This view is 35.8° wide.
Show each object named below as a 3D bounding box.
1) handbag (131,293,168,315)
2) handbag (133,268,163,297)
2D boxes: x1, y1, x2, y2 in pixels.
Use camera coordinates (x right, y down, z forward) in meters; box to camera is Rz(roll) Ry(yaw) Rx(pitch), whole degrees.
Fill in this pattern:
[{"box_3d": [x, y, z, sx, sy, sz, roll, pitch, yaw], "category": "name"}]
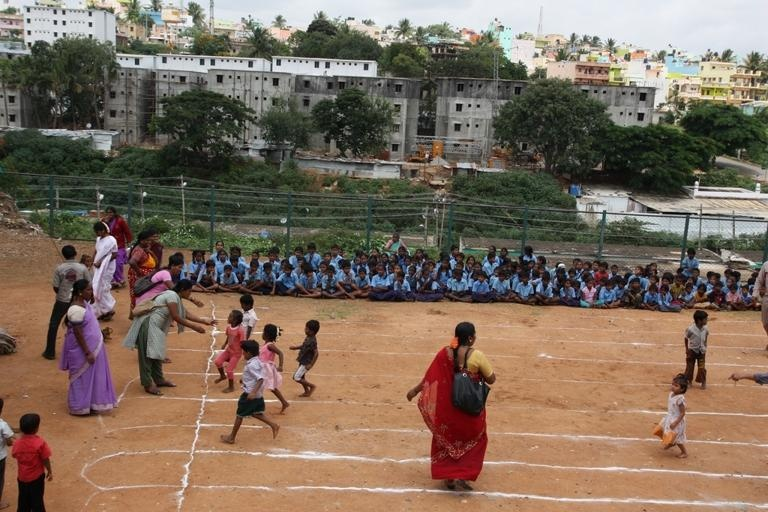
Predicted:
[{"box_3d": [-9.369, 2.025, 46.902, 1.107, 0.384, 0.692, -26, 48, -3], "category": "handbag"}, {"box_3d": [-9.500, 1.164, 47.069, 1.075, 0.923, 0.773, -7, 1, -38], "category": "handbag"}]
